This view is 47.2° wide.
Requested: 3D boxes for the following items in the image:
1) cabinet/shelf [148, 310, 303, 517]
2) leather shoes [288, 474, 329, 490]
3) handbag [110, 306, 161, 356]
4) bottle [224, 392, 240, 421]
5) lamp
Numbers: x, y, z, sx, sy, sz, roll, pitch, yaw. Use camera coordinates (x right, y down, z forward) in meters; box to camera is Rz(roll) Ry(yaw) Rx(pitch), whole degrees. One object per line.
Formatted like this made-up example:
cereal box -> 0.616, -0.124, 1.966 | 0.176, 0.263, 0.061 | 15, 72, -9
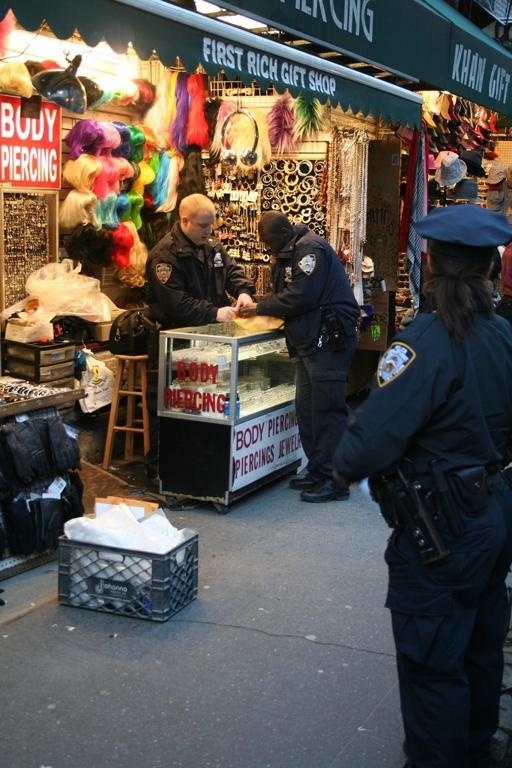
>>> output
cabinet/shelf -> -0.134, 0.250, 5.207 | 0.576, 1.390, 1.640 | 1, 3, 23
leather shoes -> 0.463, 0.840, 5.100 | 0.324, 0.140, 0.118 | -4, 6, 4
handbag -> -1.084, -0.474, 5.239 | 0.487, 0.502, 0.403 | 4, 7, 19
bottle -> -0.161, 0.170, 4.411 | 0.095, 0.185, 0.176 | 2, 1, 35
lamp -> -1.757, -2.738, 5.304 | 0.525, 0.450, 0.278 | 0, 1, -31
